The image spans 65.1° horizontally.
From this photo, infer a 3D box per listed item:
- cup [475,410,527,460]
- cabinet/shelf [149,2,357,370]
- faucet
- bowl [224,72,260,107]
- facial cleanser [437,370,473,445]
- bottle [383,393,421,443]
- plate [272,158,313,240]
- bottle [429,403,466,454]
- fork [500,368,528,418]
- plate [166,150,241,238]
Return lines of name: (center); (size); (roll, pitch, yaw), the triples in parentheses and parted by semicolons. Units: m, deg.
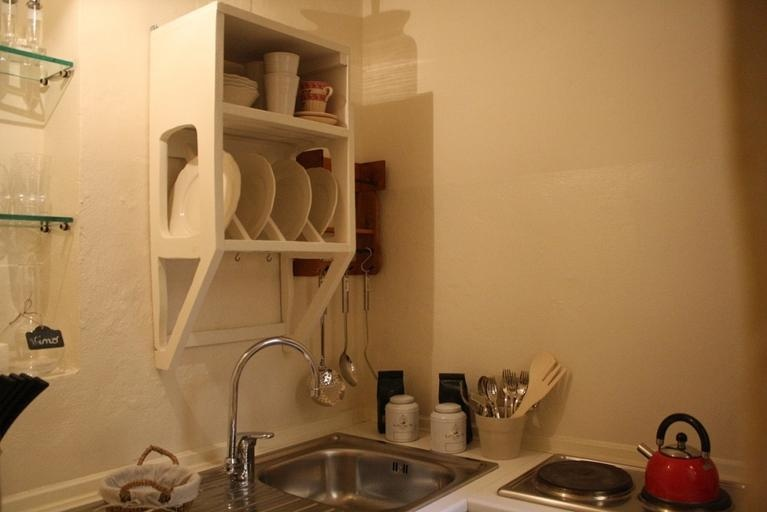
cup: (0.373, 0.567, 1.891); (0.139, 0.144, 0.070); (-6, 4, -6)
cabinet/shelf: (-0.480, -0.254, 1.901); (0.480, 1.071, 0.577); (7, 7, 40)
faucet: (-0.333, 0.444, 1.805); (0.228, 0.428, 0.265); (-1, 6, -41)
bowl: (-0.407, -0.473, 1.708); (0.090, 0.072, 0.105); (0, -4, -35)
facial cleanser: (0.250, 0.523, 2.102); (0.103, 0.244, 0.097); (5, 4, 28)
bottle: (0.067, 0.566, 2.143); (0.132, 0.149, 0.139); (0, -7, -3)
plate: (-0.287, -0.179, 1.861); (0.080, 0.228, 0.190); (3, 5, -18)
bottle: (0.212, 0.558, 1.951); (0.137, 0.153, 0.138); (-1, -9, 8)
fork: (0.422, 0.432, 1.931); (0.023, 0.161, 0.059); (29, -32, -34)
plate: (-0.489, -0.164, 1.719); (0.200, 0.254, 0.138); (15, 14, 37)
